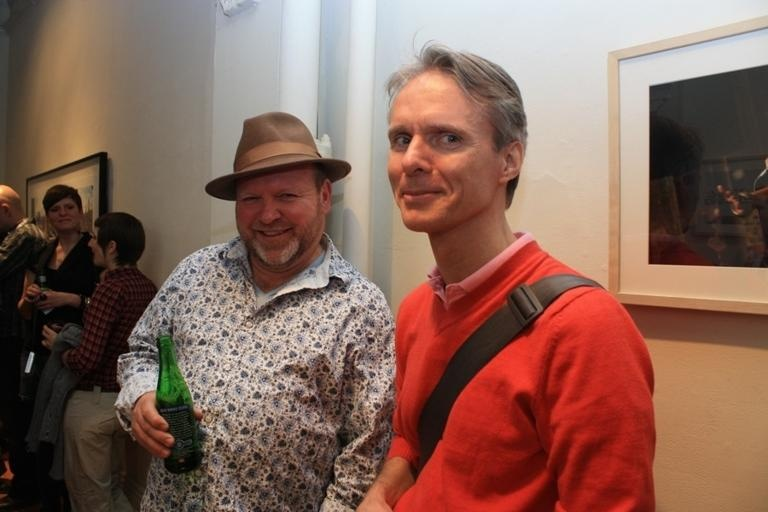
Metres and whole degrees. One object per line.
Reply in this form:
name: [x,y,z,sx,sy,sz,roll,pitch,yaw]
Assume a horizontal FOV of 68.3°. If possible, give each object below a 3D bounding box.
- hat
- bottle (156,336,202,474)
hat: [-0.494,-0.458,2.386,0.550,0.279,0.620,-6,5,32]
bottle: [-0.759,0.533,2.060,0.143,0.479,0.180,-2,0,-39]
